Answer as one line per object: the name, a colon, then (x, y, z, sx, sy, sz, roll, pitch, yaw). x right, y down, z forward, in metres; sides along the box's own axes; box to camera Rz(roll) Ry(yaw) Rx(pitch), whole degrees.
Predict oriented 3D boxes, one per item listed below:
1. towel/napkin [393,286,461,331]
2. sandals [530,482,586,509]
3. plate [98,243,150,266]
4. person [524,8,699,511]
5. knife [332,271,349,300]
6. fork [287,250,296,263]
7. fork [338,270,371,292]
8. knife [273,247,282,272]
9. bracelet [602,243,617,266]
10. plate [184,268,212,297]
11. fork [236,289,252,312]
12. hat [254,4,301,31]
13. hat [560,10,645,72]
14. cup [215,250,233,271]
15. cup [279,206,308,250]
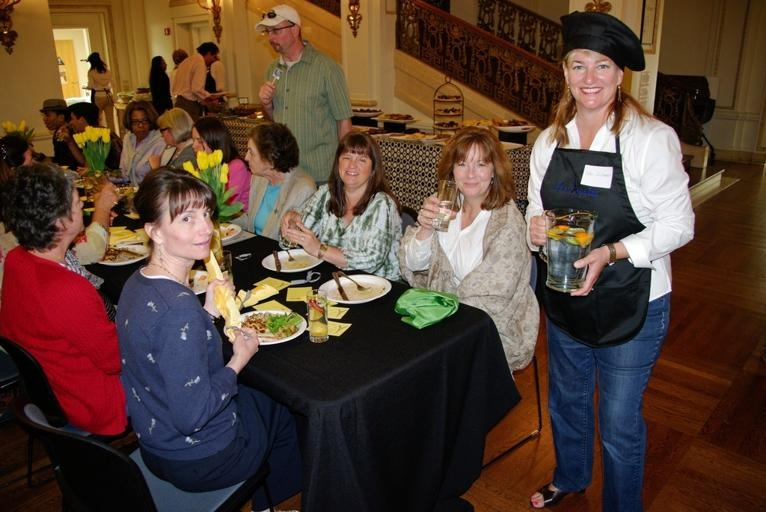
towel/napkin: (0.192, 0.230, 2.226, 0.187, 0.048, 0.185, -11, 39, -4)
sandals: (0.885, 1.222, 2.605, 0.299, 0.085, 0.114, -11, 34, -3)
plate: (-1.518, -0.003, 2.974, 0.160, 0.036, 0.166, -7, 31, -16)
person: (0.930, 0.180, 2.188, 0.621, 2.284, 0.471, 3, 18, 16)
knife: (-0.210, 0.144, 2.450, 0.037, 0.013, 0.277, 1, 29, -12)
fork: (-0.523, 0.006, 2.840, 0.037, 0.067, 0.067, -4, 23, -14)
fork: (-0.153, 0.120, 2.527, 0.059, 0.045, 0.299, -10, 17, -20)
knife: (-0.568, 0.018, 2.754, 0.028, 0.021, 0.173, -1, 42, -16)
bracelet: (0.900, -0.001, 2.002, 0.049, 0.083, 0.073, -6, 21, -1)
plate: (-0.946, 0.136, 2.591, 0.136, 0.033, 0.140, -24, 61, -24)
fork: (-0.662, 0.218, 2.435, 0.053, 0.045, 0.096, 1, 15, 15)
hat: (-0.824, -1.859, 4.051, 0.355, 0.197, 0.228, -19, 36, -35)
hat: (0.861, -0.761, 1.999, 0.283, 0.104, 0.251, 29, -7, -28)
cup: (-0.798, 0.030, 2.564, 0.069, 0.088, 0.079, -1, 7, -2)
cup: (-0.502, -0.148, 2.851, 0.127, 0.231, 0.224, 15, 34, 6)
